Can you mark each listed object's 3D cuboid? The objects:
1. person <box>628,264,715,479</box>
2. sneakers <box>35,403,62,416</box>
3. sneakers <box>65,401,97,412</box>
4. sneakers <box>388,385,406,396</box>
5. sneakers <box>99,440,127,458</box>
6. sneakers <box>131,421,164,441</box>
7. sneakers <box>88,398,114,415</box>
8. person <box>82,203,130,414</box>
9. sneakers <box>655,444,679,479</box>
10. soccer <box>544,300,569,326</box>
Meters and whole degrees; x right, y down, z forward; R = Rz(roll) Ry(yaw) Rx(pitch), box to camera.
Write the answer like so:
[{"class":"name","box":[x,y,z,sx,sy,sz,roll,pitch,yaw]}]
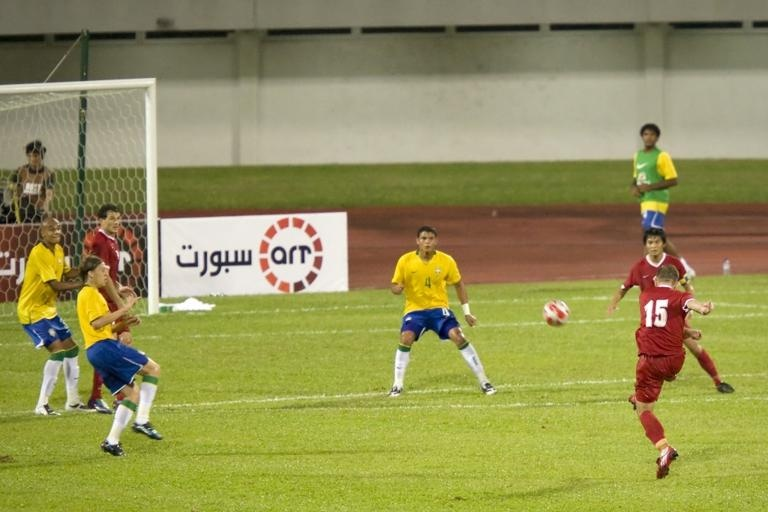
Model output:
[{"class":"person","box":[4.604,1.839,23.184,1.004,3.187,0.956,-2,-1,3]},{"class":"sneakers","box":[-5.934,2.692,24.930,0.490,0.217,0.167,2,1,-3]},{"class":"sneakers","box":[-5.359,2.636,25.062,0.519,0.211,0.194,0,0,1]},{"class":"sneakers","box":[0.191,2.391,25.507,0.258,0.167,0.193,-2,0,0]},{"class":"sneakers","box":[-4.445,3.143,23.419,0.474,0.237,0.177,24,5,-11]},{"class":"sneakers","box":[-3.950,2.879,23.713,0.602,0.274,0.220,26,0,-3]},{"class":"sneakers","box":[-5.015,2.645,25.080,0.493,0.224,0.200,5,2,6]},{"class":"person","box":[-4.914,0.885,25.265,1.149,3.645,1.015,4,-6,-1]},{"class":"sneakers","box":[4.497,3.265,22.815,0.293,0.581,0.268,25,6,29]},{"class":"soccer","box":[3.086,0.993,25.772,0.426,0.437,0.434,-12,9,31]}]
